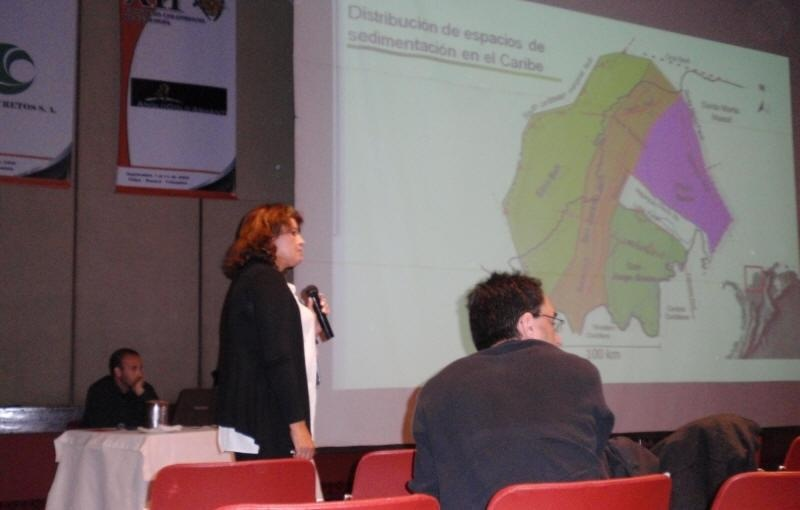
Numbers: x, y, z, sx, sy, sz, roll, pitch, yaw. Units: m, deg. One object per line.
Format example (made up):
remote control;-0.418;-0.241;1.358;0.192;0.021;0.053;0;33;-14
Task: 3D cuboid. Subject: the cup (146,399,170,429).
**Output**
cup;-1.399;0.916;4.044;0.105;0.139;0.122;3;2;-25

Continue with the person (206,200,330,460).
person;-0.672;0.396;3.626;0.524;1.318;0.507;3;2;-16
